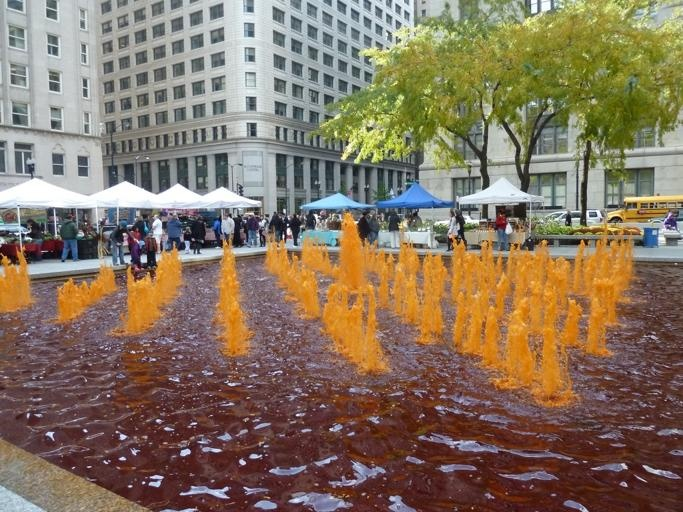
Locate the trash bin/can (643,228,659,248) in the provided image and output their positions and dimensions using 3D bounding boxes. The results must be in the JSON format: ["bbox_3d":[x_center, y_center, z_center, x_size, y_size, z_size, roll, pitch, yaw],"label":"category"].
[{"bbox_3d":[12.200,-0.698,23.926,0.635,0.916,0.894,0,-6,30],"label":"trash bin/can"}]

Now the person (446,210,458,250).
[{"bbox_3d":[4.191,-0.943,22.770,0.422,1.628,2.179,0,10,10],"label":"person"}]

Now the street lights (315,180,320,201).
[{"bbox_3d":[-2.819,-7.802,71.467,0.464,1.879,0.727,-2,9,-6],"label":"street lights"}]

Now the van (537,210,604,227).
[{"bbox_3d":[12.879,-2.076,33.663,2.682,1.154,1.443,4,4,15],"label":"van"}]
